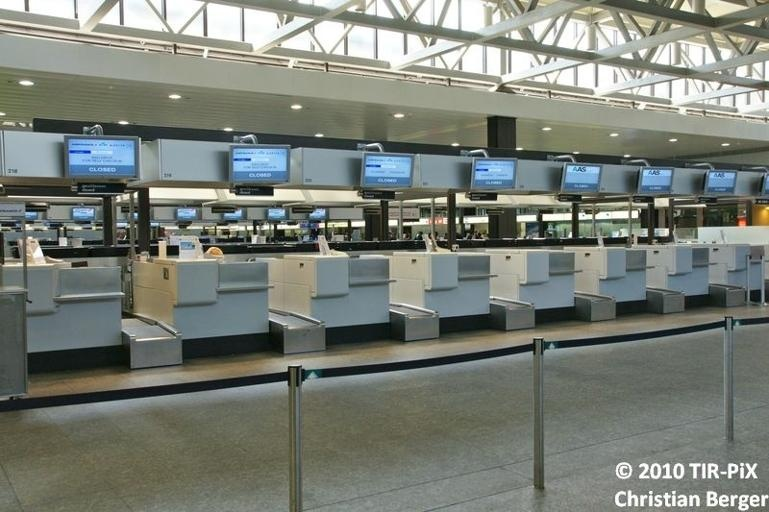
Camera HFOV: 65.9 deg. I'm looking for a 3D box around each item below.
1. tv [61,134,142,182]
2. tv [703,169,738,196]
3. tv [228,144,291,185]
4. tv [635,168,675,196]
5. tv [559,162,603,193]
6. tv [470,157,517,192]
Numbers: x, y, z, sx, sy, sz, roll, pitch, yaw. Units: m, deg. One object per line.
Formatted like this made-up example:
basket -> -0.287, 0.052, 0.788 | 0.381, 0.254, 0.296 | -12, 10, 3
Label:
tv -> -3.944, -1.366, 8.243 | 1.213, 0.638, 0.607 | 0, 0, -26
tv -> 7.869, -1.710, 13.853 | 1.109, 0.558, 0.142 | -4, 8, -31
tv -> -1.981, -1.404, 9.253 | 1.250, 0.653, 0.625 | -1, 8, -28
tv -> 5.923, -1.636, 12.920 | 1.080, 0.568, 0.244 | -5, 8, -37
tv -> 4.006, -1.568, 11.992 | 1.182, 0.564, 0.231 | -6, 8, -40
tv -> 2.042, -1.510, 10.941 | 0.982, 0.563, 0.209 | -5, 8, -34
